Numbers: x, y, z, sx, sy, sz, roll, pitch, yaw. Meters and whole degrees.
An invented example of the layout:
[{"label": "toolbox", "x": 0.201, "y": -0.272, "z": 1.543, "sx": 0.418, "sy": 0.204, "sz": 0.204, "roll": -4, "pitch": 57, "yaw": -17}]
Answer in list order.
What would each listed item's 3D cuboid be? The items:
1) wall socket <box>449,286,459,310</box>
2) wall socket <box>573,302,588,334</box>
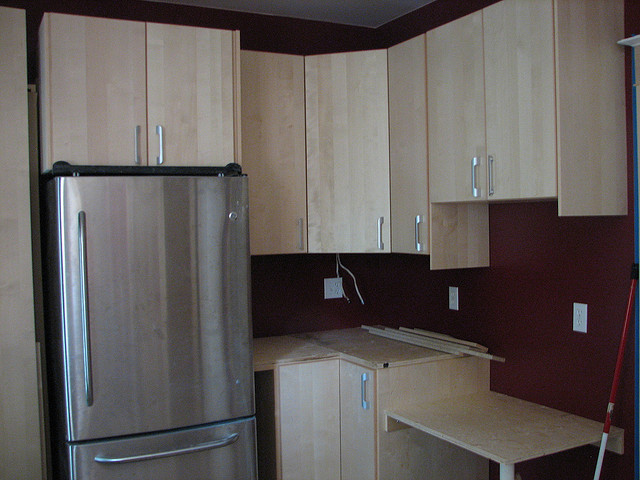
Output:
[{"label": "wall socket", "x": 0.785, "y": 0.347, "z": 3.669, "sx": 0.010, "sy": 0.131, "sz": 0.078, "roll": -5, "pitch": 6, "yaw": -35}, {"label": "wall socket", "x": 1.257, "y": 0.384, "z": 3.035, "sx": 0.009, "sy": 0.136, "sz": 0.070, "roll": 3, "pitch": -2, "yaw": -36}]
